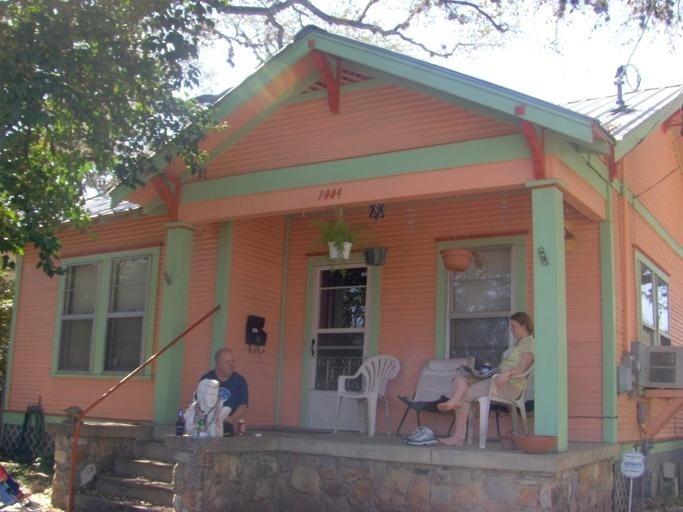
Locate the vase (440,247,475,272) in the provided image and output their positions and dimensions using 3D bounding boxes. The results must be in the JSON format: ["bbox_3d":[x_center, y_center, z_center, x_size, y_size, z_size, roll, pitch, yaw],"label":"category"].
[{"bbox_3d":[1.603,0.036,9.203,0.414,0.270,0.202,-2,-18,9],"label":"vase"}]

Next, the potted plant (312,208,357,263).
[{"bbox_3d":[-0.124,-0.295,9.664,0.688,0.808,0.621,2,-7,-16],"label":"potted plant"}]

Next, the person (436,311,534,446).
[{"bbox_3d":[1.720,1.390,7.672,1.043,1.537,0.508,-4,-17,14],"label":"person"}]

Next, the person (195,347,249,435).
[{"bbox_3d":[-1.453,1.773,8.243,0.601,1.215,0.623,0,2,-31],"label":"person"}]
